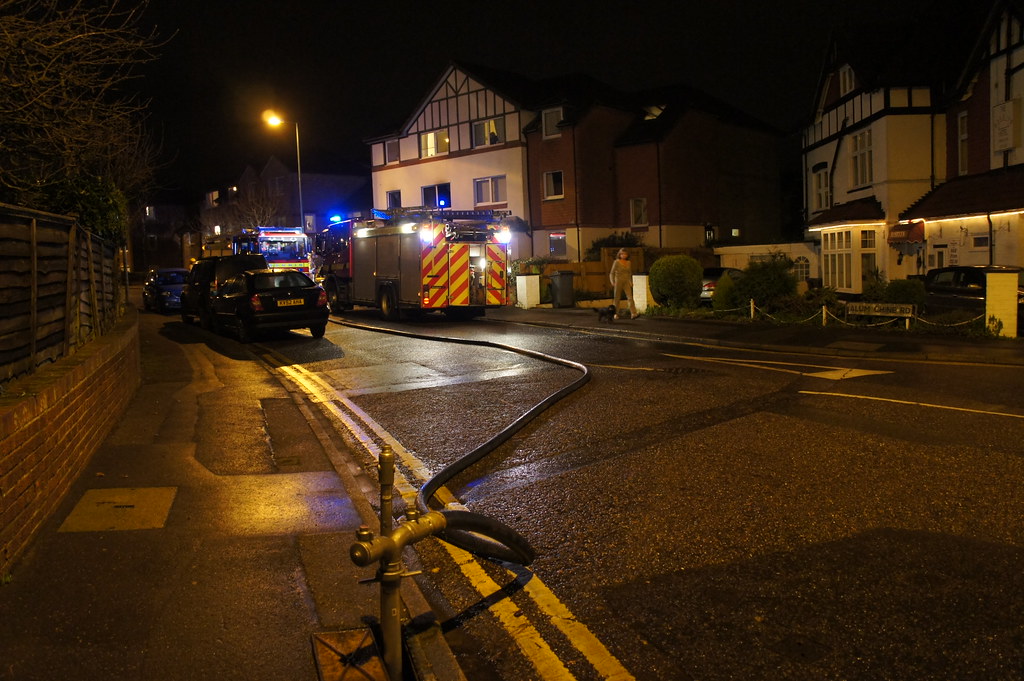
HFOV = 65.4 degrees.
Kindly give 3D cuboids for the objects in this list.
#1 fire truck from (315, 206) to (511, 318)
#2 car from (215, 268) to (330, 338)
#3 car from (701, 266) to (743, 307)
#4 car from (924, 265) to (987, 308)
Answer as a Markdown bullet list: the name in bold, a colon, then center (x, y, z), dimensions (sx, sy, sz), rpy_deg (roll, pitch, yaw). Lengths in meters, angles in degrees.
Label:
- **fire truck**: center (-3.319, -2.690, 27.246), dimensions (3.235, 3.157, 5.912), rpy_deg (-2, 6, -37)
- **car**: center (-6.443, -0.963, 20.893), dimensions (2.922, 1.912, 1.558), rpy_deg (5, 10, 26)
- **car**: center (7.249, -2.046, 28.366), dimensions (1.042, 0.919, 2.582), rpy_deg (2, 10, 28)
- **car**: center (11.436, -1.477, 20.894), dimensions (0.878, 0.871, 1.665), rpy_deg (-2, 0, -17)
